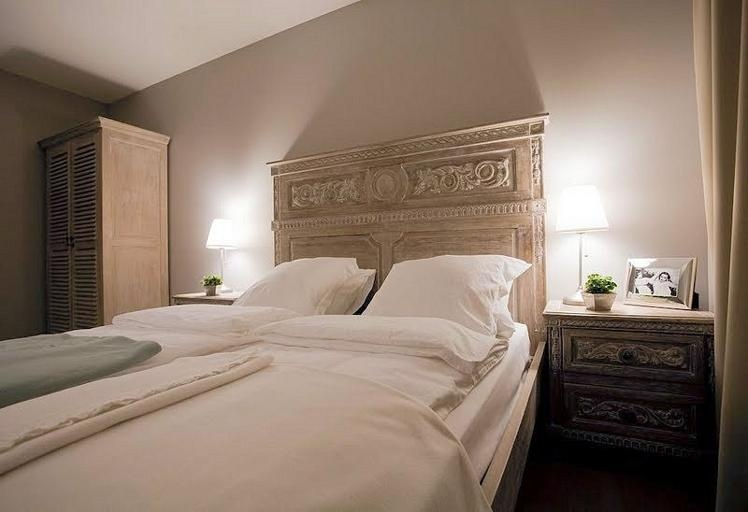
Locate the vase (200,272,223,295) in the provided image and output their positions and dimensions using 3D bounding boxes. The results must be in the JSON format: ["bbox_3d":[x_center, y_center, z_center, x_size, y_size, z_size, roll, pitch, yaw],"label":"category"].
[{"bbox_3d":[-1.440,0.246,4.005,0.169,0.176,0.176,-2,-5,9],"label":"vase"}]

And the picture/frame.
[{"bbox_3d":[1.720,0.174,2.663,0.032,0.289,0.285,13,-3,-34],"label":"picture/frame"}]

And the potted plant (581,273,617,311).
[{"bbox_3d":[1.296,0.217,2.679,0.195,0.227,0.238,2,-2,4],"label":"potted plant"}]

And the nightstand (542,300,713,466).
[{"bbox_3d":[1.404,0.707,2.877,1.145,1.060,0.782,-2,-7,22],"label":"nightstand"}]
